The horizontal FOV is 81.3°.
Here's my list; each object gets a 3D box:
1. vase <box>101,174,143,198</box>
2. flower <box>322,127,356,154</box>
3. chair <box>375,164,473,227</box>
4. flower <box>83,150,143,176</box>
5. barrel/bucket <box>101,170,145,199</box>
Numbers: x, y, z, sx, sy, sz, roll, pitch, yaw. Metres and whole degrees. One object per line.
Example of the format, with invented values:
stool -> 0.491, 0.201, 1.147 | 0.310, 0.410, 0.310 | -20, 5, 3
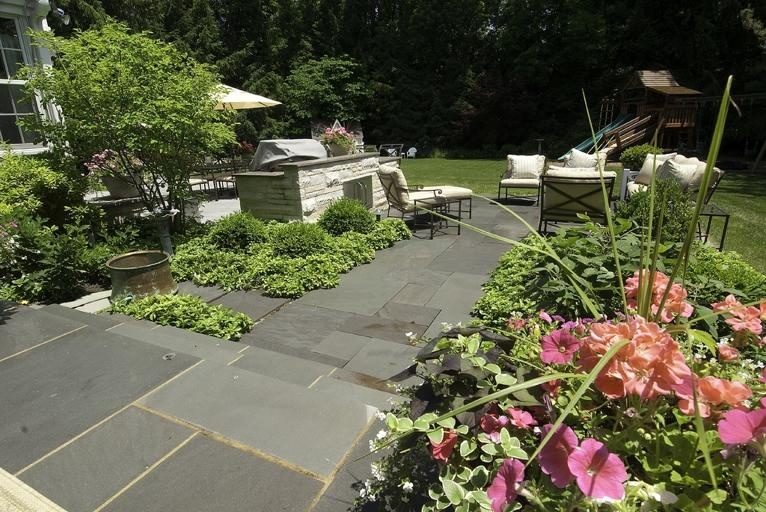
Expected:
vase -> -4.013, -1.073, 6.861 | 0.481, 0.270, 0.444 | -1, 11, -5
flower -> -0.841, -2.234, 8.712 | 0.778, 0.602, 0.619 | 0, 17, -3
chair -> 0.697, -1.037, 7.598 | 1.372, 1.045, 2.439 | 7, 21, 22
flower -> -3.573, -1.237, 5.931 | 0.515, 0.217, 0.513 | 18, 23, 37
barrel/bucket -> -3.983, -1.070, 6.768 | 0.532, 0.303, 0.474 | -6, 15, -15
